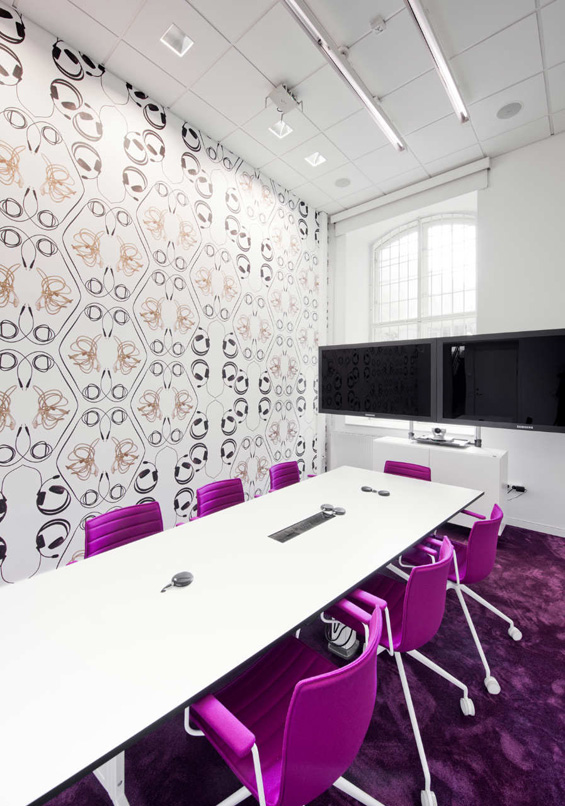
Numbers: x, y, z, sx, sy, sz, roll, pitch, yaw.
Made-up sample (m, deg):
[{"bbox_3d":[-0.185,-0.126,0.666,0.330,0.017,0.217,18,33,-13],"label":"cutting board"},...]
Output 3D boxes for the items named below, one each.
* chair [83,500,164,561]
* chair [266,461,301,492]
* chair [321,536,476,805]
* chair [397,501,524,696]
[{"bbox_3d":[-0.759,0.545,2.600,0.245,0.422,0.259,-2,1,-40],"label":"chair"},{"bbox_3d":[0.006,0.478,3.608,0.159,0.247,0.184,0,-3,-29],"label":"chair"},{"bbox_3d":[0.491,0.958,2.404,0.723,0.869,0.706,-1,4,-42],"label":"chair"},{"bbox_3d":[0.896,0.843,2.656,0.586,0.743,0.705,-2,11,-6],"label":"chair"}]
